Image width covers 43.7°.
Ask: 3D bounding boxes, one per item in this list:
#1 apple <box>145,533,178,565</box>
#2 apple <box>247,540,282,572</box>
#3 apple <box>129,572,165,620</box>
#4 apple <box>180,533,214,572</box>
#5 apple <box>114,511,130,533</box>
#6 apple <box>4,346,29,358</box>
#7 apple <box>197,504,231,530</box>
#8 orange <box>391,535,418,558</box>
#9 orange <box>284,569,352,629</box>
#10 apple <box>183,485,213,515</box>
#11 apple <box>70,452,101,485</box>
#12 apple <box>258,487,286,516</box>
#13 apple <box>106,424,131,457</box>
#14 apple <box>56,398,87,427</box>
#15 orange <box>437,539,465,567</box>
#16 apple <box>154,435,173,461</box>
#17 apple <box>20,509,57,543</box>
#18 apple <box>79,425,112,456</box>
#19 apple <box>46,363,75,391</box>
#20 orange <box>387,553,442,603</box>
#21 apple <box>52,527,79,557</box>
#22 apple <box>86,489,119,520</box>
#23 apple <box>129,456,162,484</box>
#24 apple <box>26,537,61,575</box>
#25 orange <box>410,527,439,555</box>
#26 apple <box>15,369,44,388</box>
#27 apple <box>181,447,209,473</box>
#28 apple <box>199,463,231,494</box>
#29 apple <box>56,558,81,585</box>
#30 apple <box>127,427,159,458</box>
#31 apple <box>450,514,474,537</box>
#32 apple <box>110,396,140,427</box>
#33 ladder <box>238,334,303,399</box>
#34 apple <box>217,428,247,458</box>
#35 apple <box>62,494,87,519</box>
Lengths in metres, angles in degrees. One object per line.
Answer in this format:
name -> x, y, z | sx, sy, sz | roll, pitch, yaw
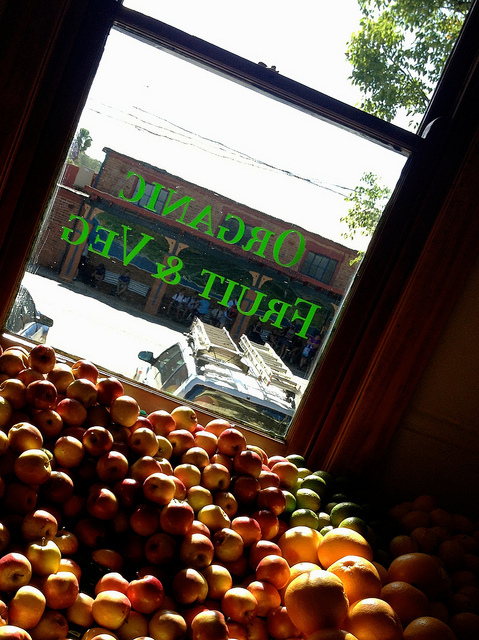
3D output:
apple -> -0.149, 0.414, 1.119 | 0.061, 0.053, 0.056 | -6, 17, -9
apple -> 0.046, 0.453, 1.147 | 0.048, 0.044, 0.056 | 19, 18, 25
apple -> -0.161, 0.465, 1.010 | 0.061, 0.054, 0.068 | 9, -24, -9
apple -> -0.081, 0.431, 1.107 | 0.059, 0.065, 0.034 | 26, 7, 16
apple -> -0.227, 0.387, 1.153 | 0.035, 0.032, 0.035 | -7, -2, -41
apple -> -0.527, 0.072, 1.425 | 0.040, 0.019, 0.038 | 3, 14, -32
apple -> -0.051, 0.394, 1.191 | 0.049, 0.042, 0.048 | 5, -9, 40
orange -> 0.352, 0.485, 1.287 | 0.043, 0.039, 0.046 | -6, -43, 7
orange -> 0.130, 0.478, 1.015 | 0.116, 0.097, 0.108 | 10, -13, -18
apple -> -0.082, 0.366, 1.230 | 0.054, 0.056, 0.050 | 1, 11, 0
apple -> -0.310, 0.306, 1.214 | 0.068, 0.055, 0.063 | -2, 18, -6
apple -> 0.069, 0.383, 1.271 | 0.059, 0.050, 0.055 | 1, 3, -4
apple -> -0.258, 0.257, 1.280 | 0.060, 0.063, 0.055 | 12, -22, -11
apple -> -0.351, 0.194, 1.250 | 0.059, 0.054, 0.055 | 23, -20, -13
orange -> 0.461, 0.507, 1.300 | 0.053, 0.055, 0.050 | -1, -2, 6
apple -> -0.164, 0.280, 1.314 | 0.049, 0.051, 0.045 | 7, -19, -3
apple -> -0.351, 0.359, 1.041 | 0.057, 0.051, 0.052 | 19, 31, -15
apple -> -0.288, 0.241, 1.208 | 0.062, 0.055, 0.069 | -6, -8, -5
apple -> -0.393, 0.126, 1.319 | 0.058, 0.049, 0.053 | -2, 2, 2
orange -> 0.344, 0.504, 1.171 | 0.088, 0.090, 0.077 | -3, -30, -14
apple -> -0.309, 0.398, 1.069 | 0.041, 0.038, 0.041 | 44, 16, -32
apple -> -0.259, 0.353, 1.138 | 0.065, 0.049, 0.038 | 23, 8, -2
apple -> -0.193, 0.302, 1.215 | 0.048, 0.049, 0.051 | 35, 20, -8
apple -> -0.332, 0.395, 1.011 | 0.053, 0.055, 0.050 | 0, -8, 11
orange -> 0.398, 0.493, 1.332 | 0.057, 0.060, 0.052 | -12, -25, 4
apple -> -0.457, 0.123, 1.310 | 0.043, 0.039, 0.041 | 29, -9, -3
apple -> -0.097, 0.301, 1.312 | 0.051, 0.052, 0.046 | -6, 45, -6
apple -> -0.054, 0.337, 1.285 | 0.062, 0.053, 0.066 | -1, -2, -20
apple -> -0.293, 0.431, 1.028 | 0.041, 0.035, 0.039 | 8, -11, -14
apple -> -0.201, 0.255, 1.275 | 0.062, 0.059, 0.060 | -11, 0, 24
apple -> 0.542, 0.499, 1.454 | 0.047, 0.021, 0.046 | 1, 1, 24
apple -> -0.252, 0.199, 1.301 | 0.067, 0.067, 0.064 | 1, -15, 5
ladder -> 0.072, 0.090, 1.668 | 0.160, 0.034, 0.083 | 22, 21, -3
apple -> -0.021, 0.279, 1.362 | 0.066, 0.058, 0.072 | 15, -8, -7
apple -> -0.317, 0.355, 1.149 | 0.034, 0.043, 0.026 | 38, -27, -13
